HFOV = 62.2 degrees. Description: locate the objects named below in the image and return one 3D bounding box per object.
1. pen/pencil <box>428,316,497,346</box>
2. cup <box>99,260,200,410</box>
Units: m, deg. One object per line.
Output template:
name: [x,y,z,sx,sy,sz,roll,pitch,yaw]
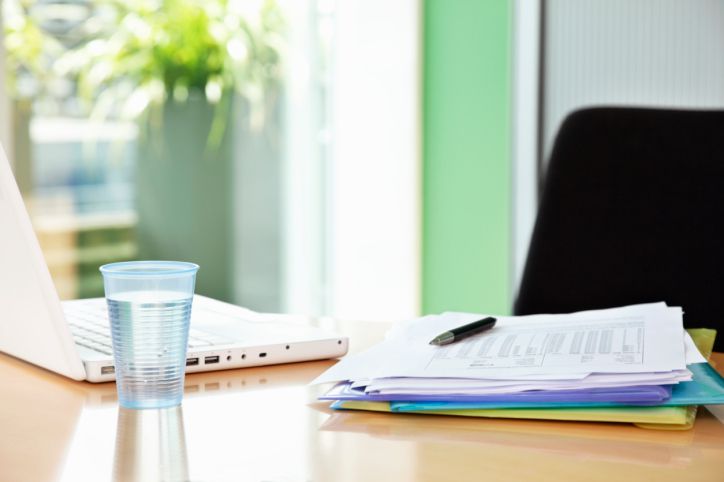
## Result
pen/pencil: [0.134,0.121,0.796,0.095,0.012,0.013,-11,10,-43]
cup: [-0.191,0.096,0.664,0.132,0.158,0.131,1,4,0]
